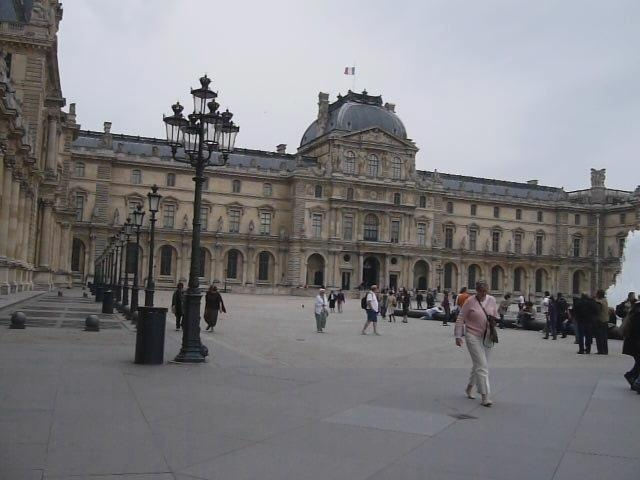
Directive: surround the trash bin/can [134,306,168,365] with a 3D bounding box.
[{"bbox_3d":[-3.650,2.064,15.304,0.613,1.274,0.536,2,0,-15],"label":"trash bin/can"}]
